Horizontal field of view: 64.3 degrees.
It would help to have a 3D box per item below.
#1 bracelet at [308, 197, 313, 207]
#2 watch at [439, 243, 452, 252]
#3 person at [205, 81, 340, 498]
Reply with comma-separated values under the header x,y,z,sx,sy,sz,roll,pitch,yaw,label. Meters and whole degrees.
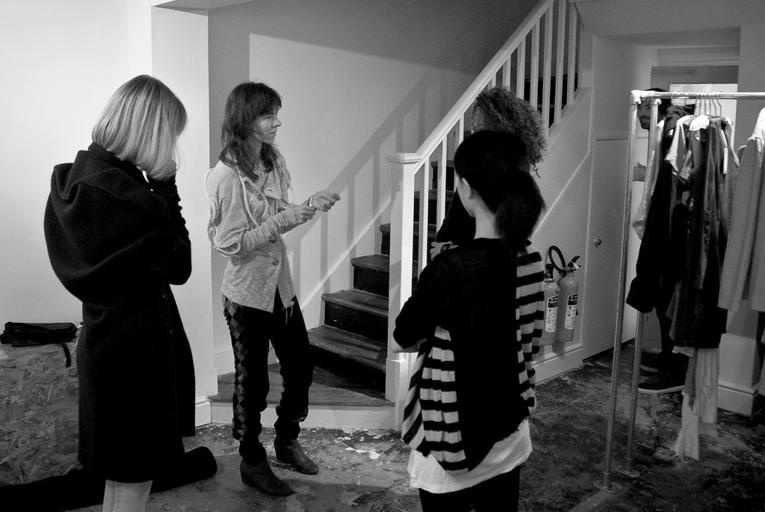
x,y,z,sx,sy,sz,roll,pitch,yaw,label
-0.398,-0.300,3.378,0.017,0.050,0.035,5,-1,-16,bracelet
0.281,-0.041,2.675,0.033,0.056,0.054,17,12,30,watch
-0.659,0.200,3.468,0.645,2.305,0.407,-1,9,-17,person
